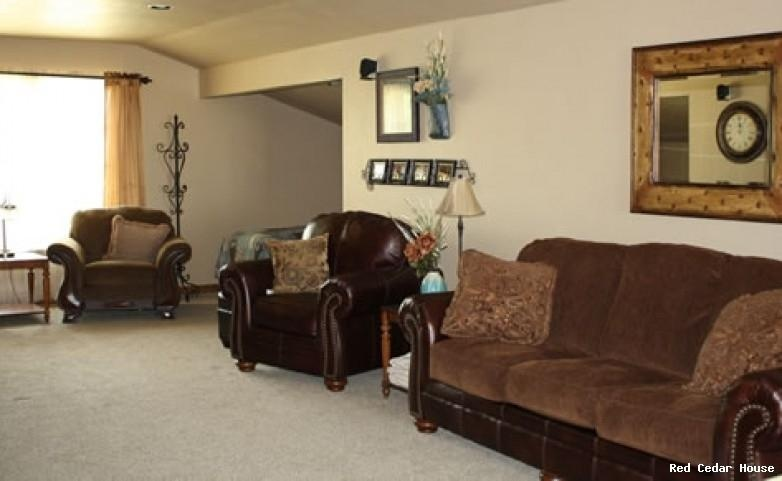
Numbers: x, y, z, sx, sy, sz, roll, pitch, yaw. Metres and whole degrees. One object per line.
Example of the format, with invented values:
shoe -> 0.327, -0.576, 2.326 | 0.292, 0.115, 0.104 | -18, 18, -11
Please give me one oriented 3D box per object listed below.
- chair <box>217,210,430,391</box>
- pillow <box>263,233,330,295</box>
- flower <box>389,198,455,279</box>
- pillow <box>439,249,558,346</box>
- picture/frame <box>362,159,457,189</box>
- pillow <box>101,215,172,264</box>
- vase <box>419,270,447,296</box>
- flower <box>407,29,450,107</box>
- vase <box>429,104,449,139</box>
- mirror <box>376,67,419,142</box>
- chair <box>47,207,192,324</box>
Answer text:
chair -> -0.603, 0.466, 5.320 | 1.538, 1.273, 1.126 | 4, 9, 35
pillow -> -0.818, 0.225, 5.279 | 0.526, 0.487, 0.192 | -3, -12, -5
flower -> 0.329, 0.046, 4.823 | 0.466, 0.569, 0.414 | -1, 2, -8
pillow -> 0.748, 0.432, 4.194 | 0.707, 0.718, 0.177 | 12, -38, 8
picture/frame -> 0.187, -0.613, 5.552 | 1.200, 0.290, 0.100 | 11, 16, 43
pillow -> -2.931, 0.025, 7.097 | 0.612, 0.580, 0.181 | 14, -16, -1
vase -> 0.319, 0.327, 4.672 | 0.181, 0.149, 0.178 | -2, 5, -31
flower -> 0.347, -1.481, 5.235 | 0.411, 0.610, 0.254 | 7, 13, 29
vase -> 0.423, -1.042, 5.266 | 0.191, 0.302, 0.119 | 5, 13, 23
mirror -> 0.073, -1.271, 5.569 | 0.711, 0.806, 0.070 | 5, 8, 44
chair -> -3.112, 0.234, 6.975 | 1.439, 1.045, 0.919 | -1, 13, -21
